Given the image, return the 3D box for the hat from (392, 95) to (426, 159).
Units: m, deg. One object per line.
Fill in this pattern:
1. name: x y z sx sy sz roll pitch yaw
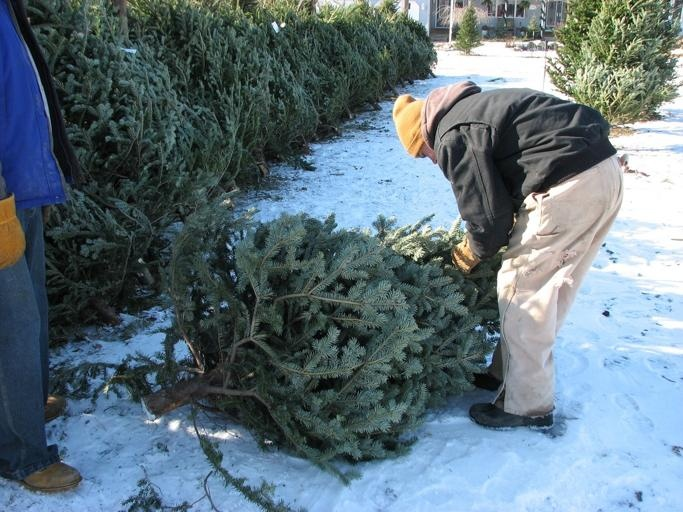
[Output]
1. hat: 0.444 -0.874 4.060 0.125 0.382 0.280 -7 -18 2

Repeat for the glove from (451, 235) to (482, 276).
1. glove: 0.854 -0.027 4.252 0.168 0.243 0.244 48 20 15

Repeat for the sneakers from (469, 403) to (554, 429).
1. sneakers: 1.102 1.065 3.966 0.489 0.234 0.212 5 -2 4

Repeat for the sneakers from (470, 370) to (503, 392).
1. sneakers: 1.034 0.897 4.373 0.242 0.151 0.089 3 6 11

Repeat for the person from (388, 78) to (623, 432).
1. person: 1.052 -0.004 3.952 1.262 2.020 0.831 13 26 26
